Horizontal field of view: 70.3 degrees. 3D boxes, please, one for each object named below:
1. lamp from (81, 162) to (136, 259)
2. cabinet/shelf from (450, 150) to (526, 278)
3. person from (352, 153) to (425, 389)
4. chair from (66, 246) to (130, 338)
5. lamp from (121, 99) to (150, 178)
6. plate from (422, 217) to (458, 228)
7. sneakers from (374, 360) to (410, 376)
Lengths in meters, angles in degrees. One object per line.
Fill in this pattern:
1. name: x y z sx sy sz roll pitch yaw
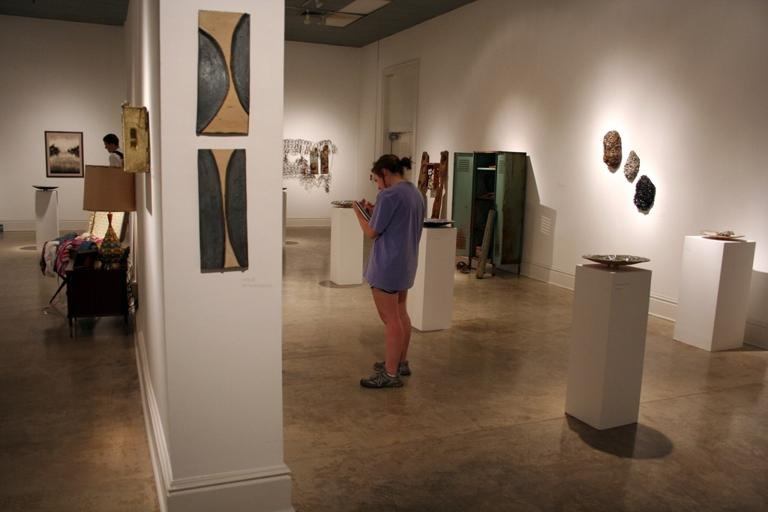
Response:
1. lamp: -3.081 -0.473 6.204 0.502 1.114 1.133 -8 17 -31
2. cabinet/shelf: 1.987 -0.847 10.533 1.439 2.346 0.904 12 18 36
3. person: 0.071 0.158 5.391 0.609 2.254 0.565 1 14 0
4. chair: -3.697 0.565 7.029 0.626 0.752 1.055 0 -4 -30
5. lamp: -1.863 -0.879 4.137 0.205 0.497 0.376 -6 16 -24
6. plate: 0.818 -0.478 7.760 0.448 0.093 0.445 -5 8 -42
7. sneakers: 0.079 1.170 5.686 0.403 0.180 0.148 2 6 -11
